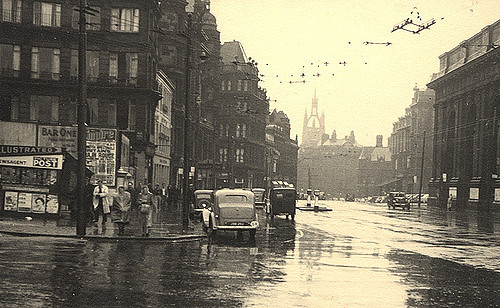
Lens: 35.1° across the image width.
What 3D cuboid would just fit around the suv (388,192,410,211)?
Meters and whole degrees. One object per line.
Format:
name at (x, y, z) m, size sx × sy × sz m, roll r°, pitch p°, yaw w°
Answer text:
suv at (18.059, 5.753, 94.923) m, size 1.715 × 1.295 × 2.960 m, roll 1°, pitch -8°, yaw -5°

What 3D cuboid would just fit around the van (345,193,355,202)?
van at (21.153, 9.494, 165.615) m, size 2.394 × 1.293 × 2.924 m, roll 1°, pitch 0°, yaw -2°

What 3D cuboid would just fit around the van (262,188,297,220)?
van at (2.884, 4.175, 68.521) m, size 2.533 × 2.130 × 5.291 m, roll 0°, pitch -2°, yaw 1°
